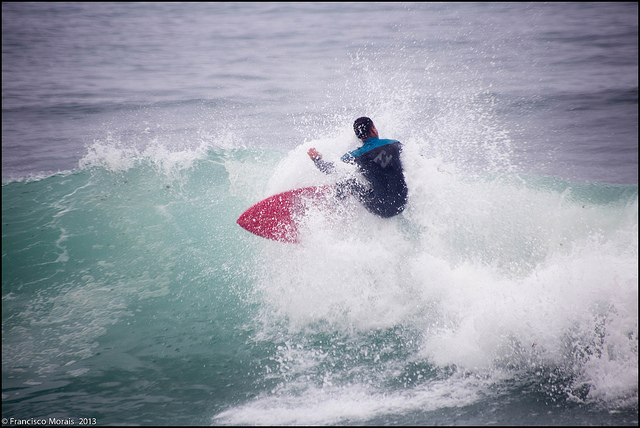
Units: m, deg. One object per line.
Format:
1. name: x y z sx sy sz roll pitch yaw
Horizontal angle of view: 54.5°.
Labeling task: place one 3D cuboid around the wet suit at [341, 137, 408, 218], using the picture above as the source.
1. wet suit: 1.236 -0.776 13.058 1.665 0.520 1.601 -14 98 14

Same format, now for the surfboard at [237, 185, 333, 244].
1. surfboard: -1.031 0.116 13.667 1.502 0.646 0.924 -17 53 -6
